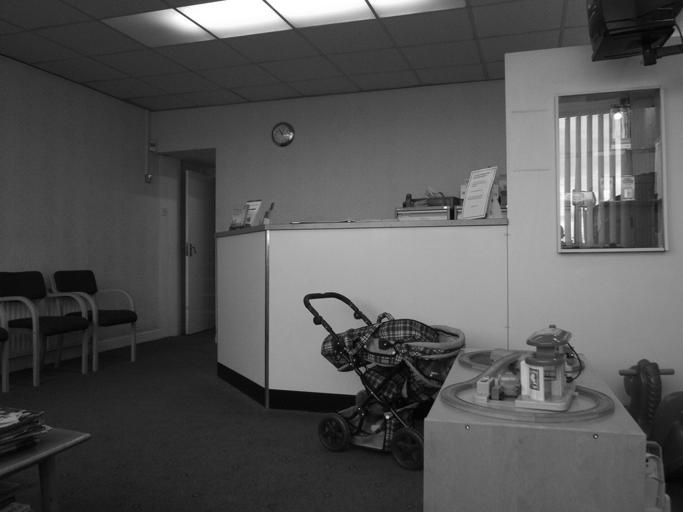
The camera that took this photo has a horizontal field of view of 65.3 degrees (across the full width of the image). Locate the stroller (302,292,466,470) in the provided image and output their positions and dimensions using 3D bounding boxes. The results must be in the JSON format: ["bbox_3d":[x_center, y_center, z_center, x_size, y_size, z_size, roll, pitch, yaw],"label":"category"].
[{"bbox_3d":[0.322,0.853,3.802,1.232,1.246,0.765,-1,0,17],"label":"stroller"}]

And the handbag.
[{"bbox_3d":[0.228,0.530,3.356,0.507,0.255,0.393,-6,-1,12],"label":"handbag"}]

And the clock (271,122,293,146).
[{"bbox_3d":[-0.789,-1.648,7.258,0.327,0.342,0.038,0,2,15],"label":"clock"}]
